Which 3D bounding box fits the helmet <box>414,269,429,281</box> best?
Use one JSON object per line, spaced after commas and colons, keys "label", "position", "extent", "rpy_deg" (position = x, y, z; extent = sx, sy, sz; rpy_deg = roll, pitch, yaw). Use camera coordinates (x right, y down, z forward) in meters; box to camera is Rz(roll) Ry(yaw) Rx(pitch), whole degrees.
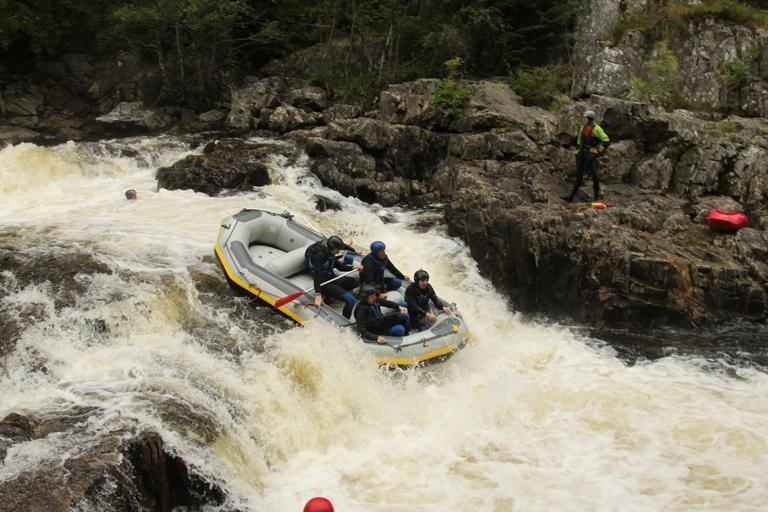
{"label": "helmet", "position": [1.093, 0.573, 23.130], "extent": [0.315, 0.311, 0.359], "rpy_deg": [-5, -13, -39]}

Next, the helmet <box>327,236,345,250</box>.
{"label": "helmet", "position": [-1.501, -0.405, 23.269], "extent": [0.470, 0.431, 0.327], "rpy_deg": [-15, 55, -2]}

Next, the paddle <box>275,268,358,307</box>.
{"label": "paddle", "position": [-2.056, 0.981, 23.152], "extent": [2.556, 0.259, 0.180], "rpy_deg": [-25, -1, -24]}

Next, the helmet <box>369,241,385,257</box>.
{"label": "helmet", "position": [-0.254, -0.277, 23.288], "extent": [0.457, 0.407, 0.388], "rpy_deg": [10, 53, 21]}
